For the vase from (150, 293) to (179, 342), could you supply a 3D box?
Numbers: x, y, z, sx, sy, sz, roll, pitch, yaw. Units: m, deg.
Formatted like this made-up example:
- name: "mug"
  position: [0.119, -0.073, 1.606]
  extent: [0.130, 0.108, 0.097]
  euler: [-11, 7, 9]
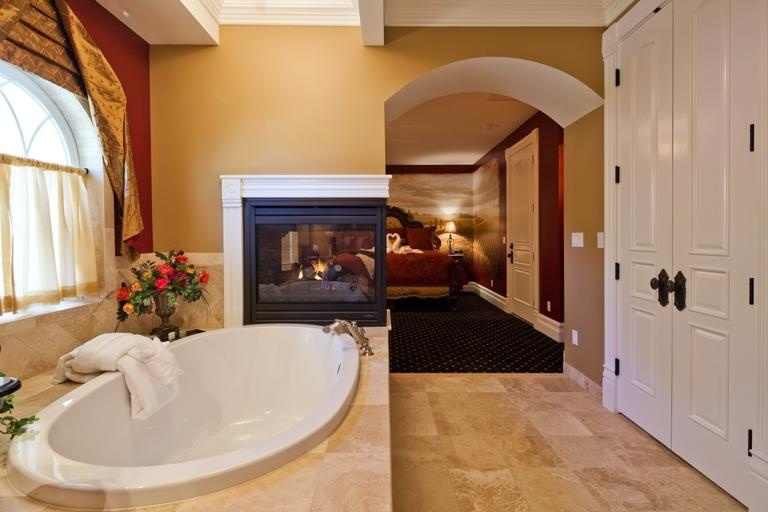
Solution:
- name: "vase"
  position: [-1.850, 0.492, 4.154]
  extent: [0.297, 0.362, 0.317]
  euler: [-3, -7, -15]

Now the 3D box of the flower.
- name: "flower"
  position: [-1.959, 0.237, 4.245]
  extent: [0.713, 0.710, 0.718]
  euler: [0, 3, 38]

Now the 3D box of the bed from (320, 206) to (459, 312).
- name: "bed"
  position: [0.376, -0.049, 8.511]
  extent: [1.664, 1.373, 2.251]
  euler: [-2, 6, -10]

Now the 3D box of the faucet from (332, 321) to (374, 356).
- name: "faucet"
  position: [-0.240, 0.620, 3.827]
  extent: [0.496, 0.194, 0.125]
  euler: [22, -1, -36]

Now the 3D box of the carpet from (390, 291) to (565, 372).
- name: "carpet"
  position: [1.014, 0.929, 6.203]
  extent: [1.903, 0.124, 2.868]
  euler: [0, 6, 1]

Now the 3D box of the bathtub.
- name: "bathtub"
  position: [-1.092, 1.056, 3.222]
  extent: [1.385, 0.781, 1.965]
  euler: [3, 7, 31]

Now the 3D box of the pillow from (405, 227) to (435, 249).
- name: "pillow"
  position: [0.653, -0.312, 9.227]
  extent: [0.424, 0.429, 0.171]
  euler: [3, -17, 3]

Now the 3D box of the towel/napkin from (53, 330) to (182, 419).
- name: "towel/napkin"
  position: [-1.815, 0.724, 3.402]
  extent: [0.627, 0.349, 0.631]
  euler: [16, 11, 14]
